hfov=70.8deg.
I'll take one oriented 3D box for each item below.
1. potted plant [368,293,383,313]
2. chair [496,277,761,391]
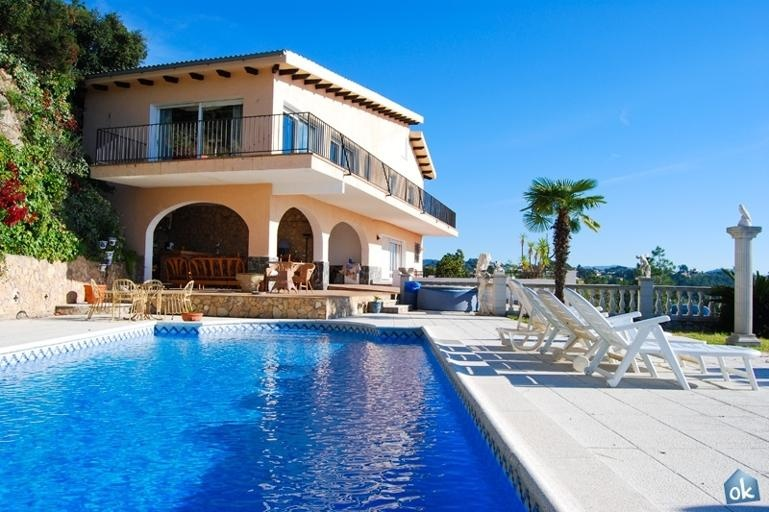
[{"bbox_3d":[-0.221,1.498,16.779,0.418,0.663,0.505,-4,-6,34],"label":"potted plant"},{"bbox_3d":[4.196,1.014,8.022,2.798,1.177,1.605,-1,0,-7],"label":"chair"}]
